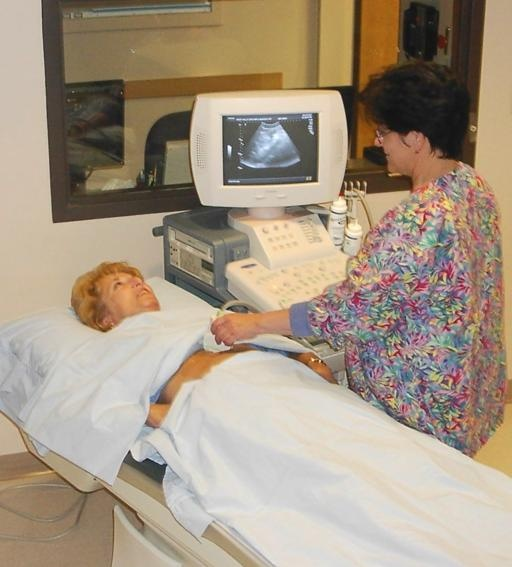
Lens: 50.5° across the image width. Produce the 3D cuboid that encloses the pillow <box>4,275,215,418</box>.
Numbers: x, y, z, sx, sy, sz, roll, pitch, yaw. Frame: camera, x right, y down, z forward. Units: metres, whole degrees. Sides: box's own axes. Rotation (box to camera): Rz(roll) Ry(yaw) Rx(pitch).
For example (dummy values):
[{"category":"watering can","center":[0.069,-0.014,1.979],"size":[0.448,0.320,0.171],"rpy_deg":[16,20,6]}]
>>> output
[{"category":"pillow","center":[-0.445,0.179,1.821],"size":[0.427,0.284,0.578],"rpy_deg":[-26,53,-33]}]

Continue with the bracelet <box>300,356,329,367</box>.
[{"category":"bracelet","center":[0.153,0.215,1.529],"size":[0.041,0.013,0.036],"rpy_deg":[21,10,40]}]

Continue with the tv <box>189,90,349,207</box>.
[{"category":"tv","center":[0.088,-0.456,1.911],"size":[0.598,0.366,0.267],"rpy_deg":[4,13,22]}]

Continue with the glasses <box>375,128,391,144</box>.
[{"category":"glasses","center":[0.269,-0.326,1.194],"size":[0.010,0.033,0.032],"rpy_deg":[52,17,7]}]

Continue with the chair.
[{"category":"chair","center":[-0.363,-0.568,2.223],"size":[0.232,0.297,0.190],"rpy_deg":[-3,24,-16]}]
